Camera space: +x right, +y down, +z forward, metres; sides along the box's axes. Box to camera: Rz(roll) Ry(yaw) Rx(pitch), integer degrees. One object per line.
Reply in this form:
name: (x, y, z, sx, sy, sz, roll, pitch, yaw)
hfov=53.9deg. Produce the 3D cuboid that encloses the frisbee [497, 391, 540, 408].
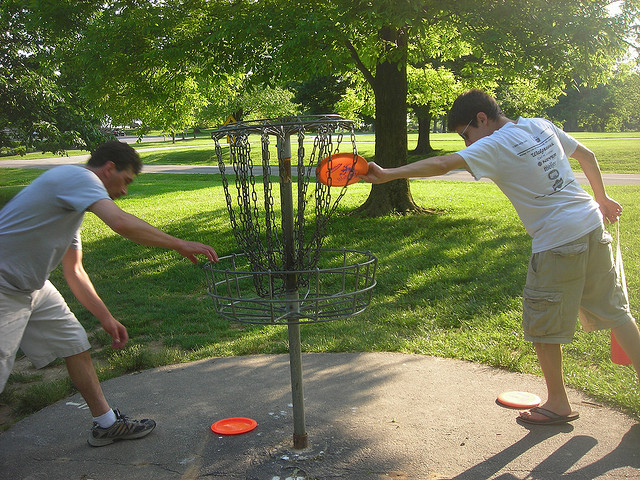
frisbee: (1.788, 1.444, 5.717, 0.358, 0.043, 0.269, 3, 11, 28)

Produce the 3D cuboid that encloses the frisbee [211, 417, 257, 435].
frisbee: (-0.759, 1.632, 5.538, 0.390, 0.048, 0.235, -4, 10, -10)

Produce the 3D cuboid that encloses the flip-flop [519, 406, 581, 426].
flip-flop: (1.975, 1.492, 5.431, 0.389, 0.093, 0.188, 0, -2, 3)

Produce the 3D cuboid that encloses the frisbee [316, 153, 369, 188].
frisbee: (0.165, -0.526, 4.694, 0.392, 0.245, 0.210, -3, 10, 1)
